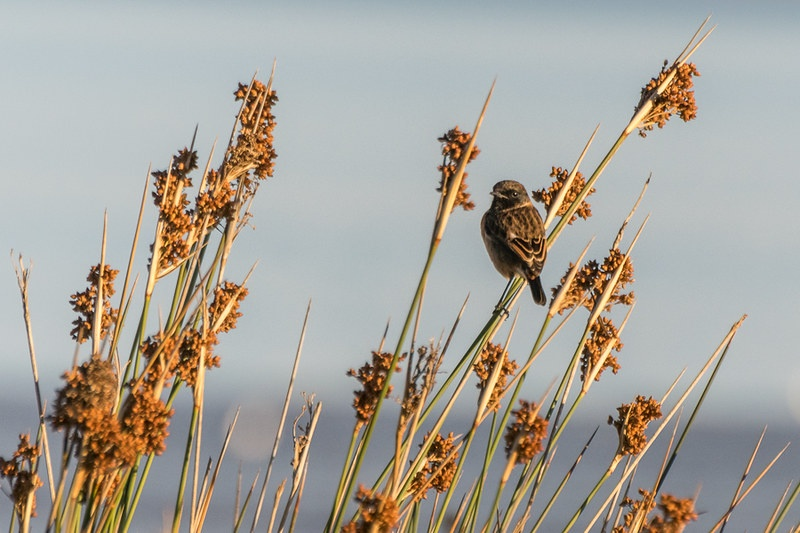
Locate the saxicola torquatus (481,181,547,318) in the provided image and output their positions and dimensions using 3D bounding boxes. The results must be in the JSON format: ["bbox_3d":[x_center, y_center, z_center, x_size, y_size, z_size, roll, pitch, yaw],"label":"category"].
[{"bbox_3d":[0.941,-0.160,13.398,0.370,0.902,0.671,-17,-39,-9],"label":"saxicola torquatus"}]
